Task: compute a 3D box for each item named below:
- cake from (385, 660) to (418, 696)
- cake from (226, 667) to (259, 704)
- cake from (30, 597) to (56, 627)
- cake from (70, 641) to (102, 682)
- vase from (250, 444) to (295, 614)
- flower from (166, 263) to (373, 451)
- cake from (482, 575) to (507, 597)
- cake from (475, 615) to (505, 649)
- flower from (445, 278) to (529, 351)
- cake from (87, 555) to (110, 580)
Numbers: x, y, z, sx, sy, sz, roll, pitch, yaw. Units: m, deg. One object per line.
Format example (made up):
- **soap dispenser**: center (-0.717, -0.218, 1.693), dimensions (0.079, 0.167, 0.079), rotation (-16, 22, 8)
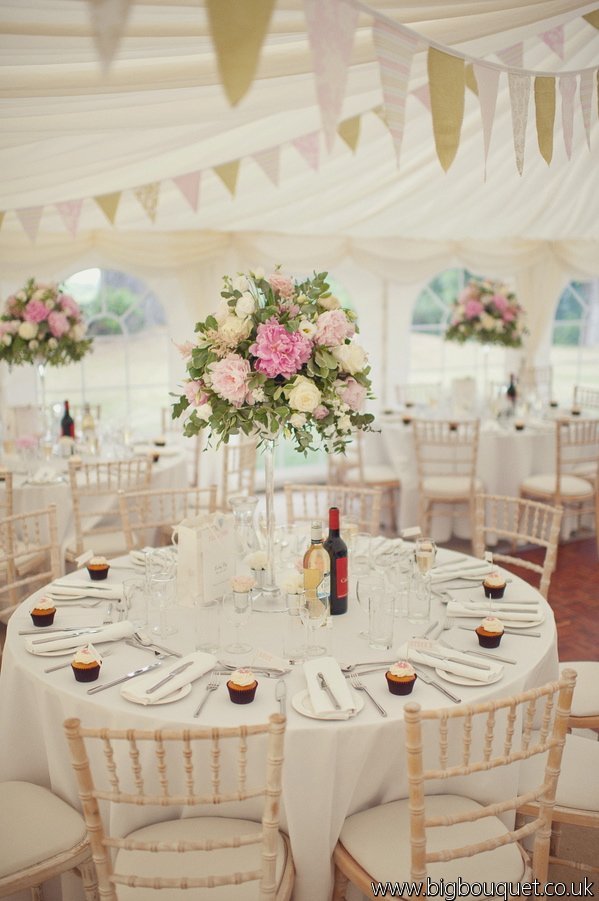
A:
- **cake**: center (0.212, 0.489, 1.565), dimensions (0.062, 0.060, 0.069), rotation (0, -1, -3)
- **cake**: center (-0.123, 0.491, 1.533), dimensions (0.060, 0.058, 0.065), rotation (0, -2, -3)
- **cake**: center (-0.681, 0.438, 1.964), dimensions (0.061, 0.061, 0.070), rotation (-1, -2, -6)
- **cake**: center (-0.471, 0.473, 1.639), dimensions (0.071, 0.093, 0.073), rotation (0, -1, -7)
- **vase**: center (-0.094, 0.216, 2.234), dimensions (0.171, 0.405, 0.166), rotation (3, 0, -11)
- **flower**: center (-0.058, -0.231, 2.048), dimensions (0.447, 0.465, 0.449), rotation (2, 21, -34)
- **cake**: center (0.561, 0.396, 2.126), dimensions (0.057, 0.047, 0.064), rotation (-1, -3, 0)
- **cake**: center (0.461, 0.450, 1.799), dimensions (0.062, 0.063, 0.070), rotation (0, -1, 0)
- **flower**: center (1.364, -0.952, 5.340), dimensions (0.546, 0.318, 0.520), rotation (8, 11, -44)
- **cake**: center (-0.632, 0.375, 2.313), dimensions (0.061, 0.058, 0.067), rotation (-1, -2, -10)
